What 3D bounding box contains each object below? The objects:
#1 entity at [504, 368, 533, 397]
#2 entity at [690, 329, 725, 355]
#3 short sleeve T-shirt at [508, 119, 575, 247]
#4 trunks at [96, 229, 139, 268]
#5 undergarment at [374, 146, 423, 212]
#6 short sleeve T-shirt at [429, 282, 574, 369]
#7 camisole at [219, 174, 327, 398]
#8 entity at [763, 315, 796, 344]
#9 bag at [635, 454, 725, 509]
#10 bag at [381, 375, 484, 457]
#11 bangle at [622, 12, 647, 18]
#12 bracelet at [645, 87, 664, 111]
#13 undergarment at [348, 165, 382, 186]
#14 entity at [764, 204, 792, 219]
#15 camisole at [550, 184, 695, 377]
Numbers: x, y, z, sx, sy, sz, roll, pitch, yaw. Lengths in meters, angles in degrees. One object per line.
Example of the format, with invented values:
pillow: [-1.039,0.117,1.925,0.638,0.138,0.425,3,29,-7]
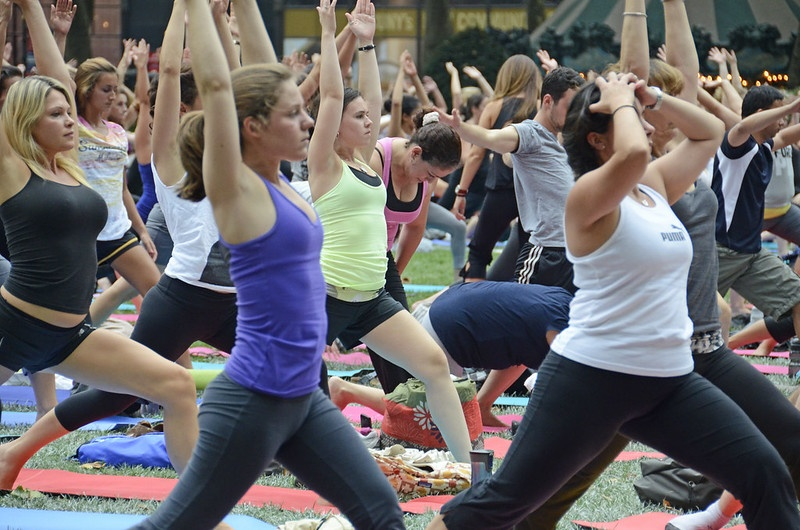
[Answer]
entity: [1.023,1.024,8.493,0.275,0.281,0.187,1,-13,-10]
entity: [1.748,0.438,5.592,0.162,0.107,0.124,-1,-5,-9]
short sleeve T-shirt: [0.983,-0.585,6.715,0.304,0.737,1.033,-7,5,8]
trunks: [-2.182,-0.133,7.667,0.204,0.303,0.156,50,-9,-1]
undergarment: [0.066,-0.545,6.787,0.281,0.411,0.439,1,8,-30]
short sleeve T-shirt: [0.633,0.380,6.226,0.770,0.396,0.485,-2,11,19]
camisole: [-0.660,0.044,4.973,0.677,1.209,0.678,-1,2,-8]
entity: [3.383,0.566,8.729,0.134,0.198,0.255,-11,27,-43]
bag: [1.775,1.359,6.172,0.463,0.174,0.354,8,12,33]
bag: [0.243,1.053,6.937,0.542,0.546,0.563,-2,0,24]
bangle: [1.405,-1.510,5.864,0.138,0.044,0.093,8,10,5]
bracelet: [1.361,-0.905,5.276,0.064,0.112,0.151,38,12,-5]
undergarment: [-0.228,-0.571,6.355,0.193,0.051,0.112,32,27,-4]
entity: [3.727,-0.531,9.670,0.193,0.101,0.246,-1,-1,-27]
camisole: [1.214,0.065,5.248,0.829,1.070,0.725,2,-3,-22]
